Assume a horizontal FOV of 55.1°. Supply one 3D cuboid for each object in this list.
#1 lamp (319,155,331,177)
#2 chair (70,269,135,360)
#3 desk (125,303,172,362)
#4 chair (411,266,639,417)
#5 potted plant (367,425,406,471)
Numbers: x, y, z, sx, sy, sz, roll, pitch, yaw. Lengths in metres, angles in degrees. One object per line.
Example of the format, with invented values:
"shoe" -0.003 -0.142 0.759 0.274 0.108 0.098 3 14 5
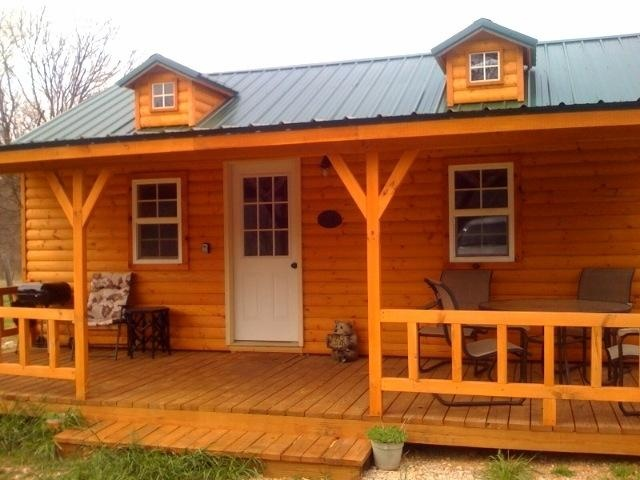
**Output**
"lamp" 0.065 -0.998 8.227 0.154 0.228 0.251 0 -14 0
"chair" -3.112 1.027 8.751 0.745 0.909 0.743 3 17 1
"desk" -2.476 1.288 8.777 0.646 0.535 0.540 4 0 17
"chair" 2.365 1.134 6.933 2.029 1.070 1.801 -2 0 19
"potted plant" 0.602 1.964 5.796 0.433 0.281 0.409 1 -10 -1
